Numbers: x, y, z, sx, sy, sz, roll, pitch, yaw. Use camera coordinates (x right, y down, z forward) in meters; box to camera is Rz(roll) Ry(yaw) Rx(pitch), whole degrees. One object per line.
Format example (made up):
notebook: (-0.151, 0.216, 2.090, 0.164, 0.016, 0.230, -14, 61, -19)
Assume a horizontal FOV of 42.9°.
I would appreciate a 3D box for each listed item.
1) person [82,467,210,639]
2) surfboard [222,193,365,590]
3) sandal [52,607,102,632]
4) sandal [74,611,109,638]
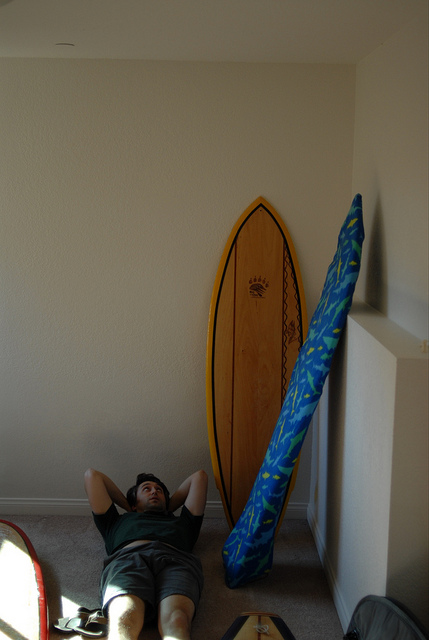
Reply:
person: (-0.279, 0.900, 2.174, 0.563, 0.364, 0.973, 0, 5, -7)
surfboard: (0.301, 0.303, 2.149, 0.510, 1.575, 0.477, 1, 4, 1)
sandal: (-0.514, 1.068, 1.943, 0.055, 0.050, 0.152, 5, -3, 31)
sandal: (-0.432, 1.068, 1.898, 0.109, 0.042, 0.114, -2, 6, -35)
